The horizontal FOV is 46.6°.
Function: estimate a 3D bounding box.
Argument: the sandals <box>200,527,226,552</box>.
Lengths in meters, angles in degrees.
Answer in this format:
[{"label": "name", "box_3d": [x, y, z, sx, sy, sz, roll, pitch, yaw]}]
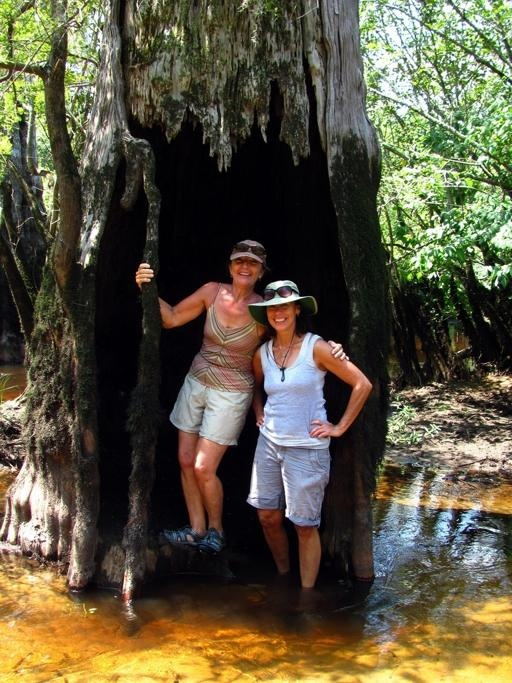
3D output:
[{"label": "sandals", "box_3d": [-0.253, 1.146, 3.426, 0.146, 0.125, 0.104, 1, 0, -10]}]

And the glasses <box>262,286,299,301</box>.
[{"label": "glasses", "box_3d": [0.134, -0.244, 3.143, 0.179, 0.062, 0.135, 1, 0, 0]}]

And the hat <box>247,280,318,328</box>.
[{"label": "hat", "box_3d": [0.144, -0.221, 3.226, 0.251, 0.144, 0.267, -21, -15, 24]}]

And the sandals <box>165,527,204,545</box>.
[{"label": "sandals", "box_3d": [-0.399, 1.101, 3.422, 0.239, 0.107, 0.099, 5, 1, -4]}]

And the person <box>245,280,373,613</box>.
[{"label": "person", "box_3d": [0.220, 0.523, 3.257, 0.481, 1.289, 0.727, 1, -1, -41]}]
